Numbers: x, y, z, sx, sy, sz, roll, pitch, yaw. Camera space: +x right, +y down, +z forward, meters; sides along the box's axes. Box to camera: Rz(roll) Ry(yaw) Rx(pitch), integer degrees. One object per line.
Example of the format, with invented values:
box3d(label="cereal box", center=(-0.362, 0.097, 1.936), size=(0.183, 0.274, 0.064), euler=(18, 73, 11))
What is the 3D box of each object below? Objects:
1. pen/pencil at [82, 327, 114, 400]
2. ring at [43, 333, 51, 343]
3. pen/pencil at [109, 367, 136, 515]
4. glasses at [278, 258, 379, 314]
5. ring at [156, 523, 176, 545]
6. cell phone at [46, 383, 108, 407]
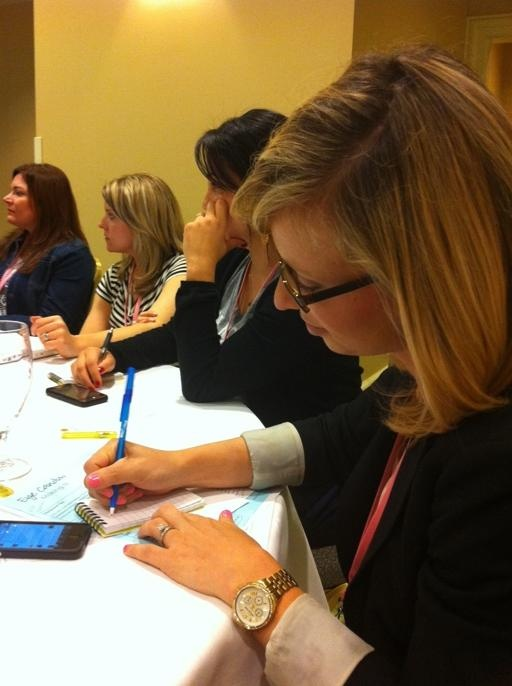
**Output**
box3d(label="pen/pencil", center=(-0.390, 0.054, 1.379), size=(0.024, 0.023, 0.213), euler=(-11, 35, 27))
box3d(label="ring", center=(-0.570, -0.013, 1.529), size=(0.021, 0.026, 0.009), euler=(-20, -14, 40))
box3d(label="pen/pencil", center=(-0.206, 0.154, 0.863), size=(0.014, 0.183, 0.014), euler=(21, -27, -32))
box3d(label="glasses", center=(0.083, -0.067, 0.716), size=(0.087, 0.023, 0.079), euler=(-11, 18, -1))
box3d(label="ring", center=(-0.102, 0.222, 0.650), size=(0.017, 0.009, 0.021), euler=(-15, 21, -26))
box3d(label="cell phone", center=(-0.375, 0.096, 1.152), size=(0.098, 0.012, 0.053), euler=(14, 18, 32))
